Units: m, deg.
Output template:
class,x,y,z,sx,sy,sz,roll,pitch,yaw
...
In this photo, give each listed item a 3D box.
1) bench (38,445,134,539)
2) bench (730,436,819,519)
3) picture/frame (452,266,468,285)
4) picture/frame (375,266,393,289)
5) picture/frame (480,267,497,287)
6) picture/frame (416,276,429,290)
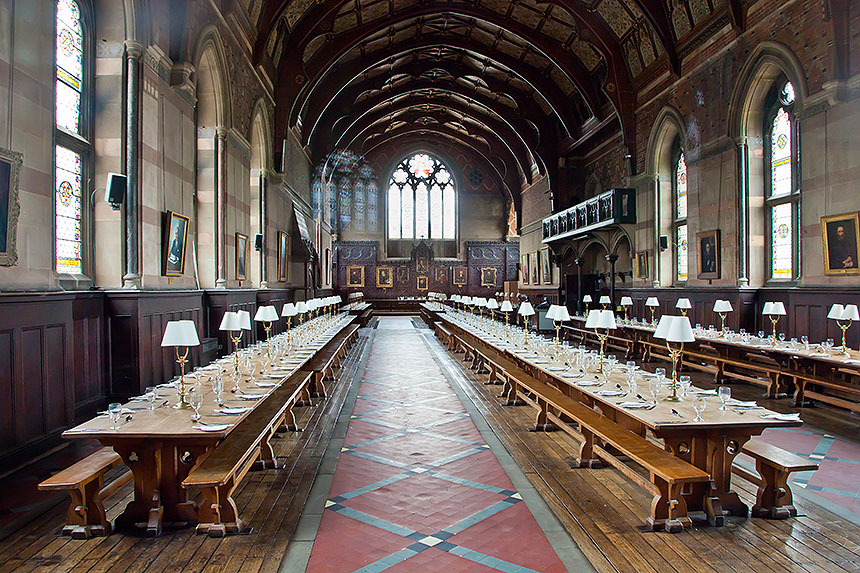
class,x,y,z,sx,sy,sz,roll,pitch,yaw
bench,-3.921,2.394,6.156,0.631,0.825,0.746,0,8,0
bench,4.131,2.321,6.408,0.787,0.790,0.522,6,11,37
picture/frame,2.063,-0.880,36.772,1.170,1.788,0.124,1,-3,-1
picture/frame,-3.200,-0.770,36.296,1.282,1.849,0.191,1,-1,-8
picture/frame,3.985,-0.670,36.823,1.209,1.610,0.216,1,-2,-4
picture/frame,-0.579,-0.348,36.557,0.856,1.255,0.162,1,-2,-3
